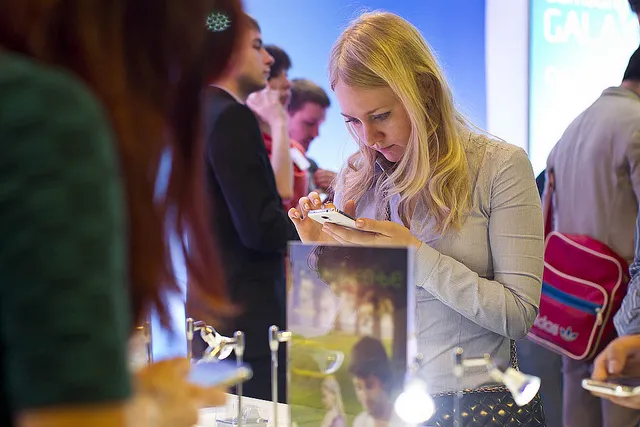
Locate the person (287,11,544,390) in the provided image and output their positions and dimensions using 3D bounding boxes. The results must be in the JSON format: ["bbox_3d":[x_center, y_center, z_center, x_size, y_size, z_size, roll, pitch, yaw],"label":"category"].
[{"bbox_3d":[0.323,-0.056,1.717,0.661,1.172,0.402,-3,-8,19],"label":"person"}]

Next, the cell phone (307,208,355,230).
[{"bbox_3d":[0.040,0.018,1.616,0.138,0.055,0.120,-3,-8,17],"label":"cell phone"}]
